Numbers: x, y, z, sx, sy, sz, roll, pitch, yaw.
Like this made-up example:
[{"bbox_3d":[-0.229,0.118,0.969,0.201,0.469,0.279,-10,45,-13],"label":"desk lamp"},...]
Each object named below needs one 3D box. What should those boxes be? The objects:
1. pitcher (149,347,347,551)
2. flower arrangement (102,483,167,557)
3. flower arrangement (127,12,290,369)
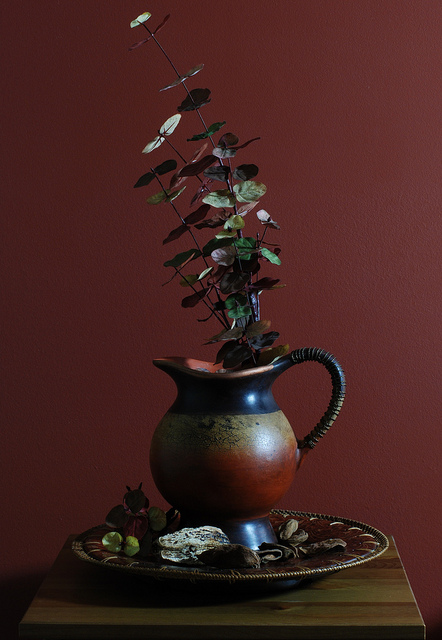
[{"bbox_3d":[0.023,0.159,0.822,0.259,0.187,0.225,1,-90,2],"label":"pitcher"},{"bbox_3d":[-0.109,0.238,0.766,0.062,0.069,0.024,-3,-35,10],"label":"flower arrangement"},{"bbox_3d":[0.010,-0.097,0.814,0.137,0.142,0.319,-3,-79,34],"label":"flower arrangement"}]
